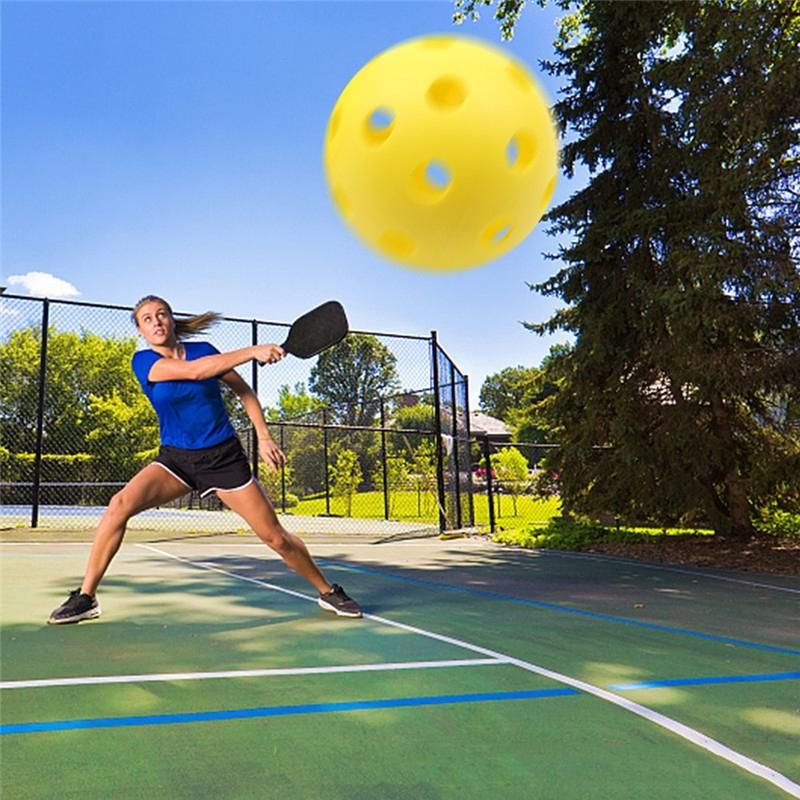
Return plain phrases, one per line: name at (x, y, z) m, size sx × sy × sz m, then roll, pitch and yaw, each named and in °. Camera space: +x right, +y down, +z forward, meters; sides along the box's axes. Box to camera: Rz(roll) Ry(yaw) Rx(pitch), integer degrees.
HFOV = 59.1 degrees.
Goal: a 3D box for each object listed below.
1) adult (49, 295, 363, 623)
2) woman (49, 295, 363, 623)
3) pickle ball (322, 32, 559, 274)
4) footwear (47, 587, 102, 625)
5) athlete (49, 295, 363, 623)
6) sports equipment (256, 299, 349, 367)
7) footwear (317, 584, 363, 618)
adult at (-1.009, 0.260, 3.905) m, size 2.067 × 1.835 × 1.039 m, roll -6°, pitch -12°, yaw 22°
woman at (-1.012, 0.246, 3.923) m, size 2.076 × 1.838 × 1.069 m, roll -6°, pitch -10°, yaw 14°
pickle ball at (0.225, -1.439, 4.103) m, size 1.308 × 1.219 × 0.561 m, roll -2°, pitch -4°, yaw -5°
footwear at (-1.708, 1.109, 3.734) m, size 0.122 × 0.150 × 0.305 m, roll -12°, pitch -15°, yaw 31°
athlete at (-1.021, 0.260, 3.920) m, size 2.073 × 1.791 × 0.995 m, roll -5°, pitch -7°, yaw 17°
sports equipment at (-0.470, -0.381, 3.786) m, size 0.355 × 0.321 × 0.260 m, roll -2°, pitch -4°, yaw -15°
footwear at (-0.348, 1.200, 4.255) m, size 0.306 × 0.126 × 0.130 m, roll 6°, pitch 2°, yaw 37°
